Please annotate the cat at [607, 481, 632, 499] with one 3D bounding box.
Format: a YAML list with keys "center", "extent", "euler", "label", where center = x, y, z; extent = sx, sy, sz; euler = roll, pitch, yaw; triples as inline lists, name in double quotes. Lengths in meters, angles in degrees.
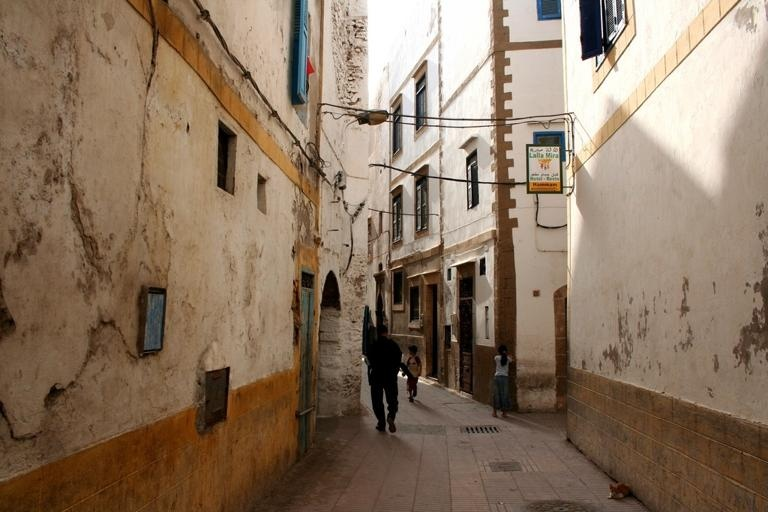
- center: [2.713, 2.699, 7.496]
  extent: [0.294, 0.112, 0.345]
  euler: [0, -4, 6]
  label: "cat"

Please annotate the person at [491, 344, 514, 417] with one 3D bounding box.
- center: [2.396, 2.526, 13.232]
  extent: [0.326, 1.423, 0.671]
  euler: [0, -3, 11]
  label: "person"

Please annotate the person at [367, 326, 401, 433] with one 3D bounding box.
- center: [0.021, 2.131, 11.490]
  extent: [0.588, 1.785, 0.777]
  euler: [2, -3, -17]
  label: "person"
